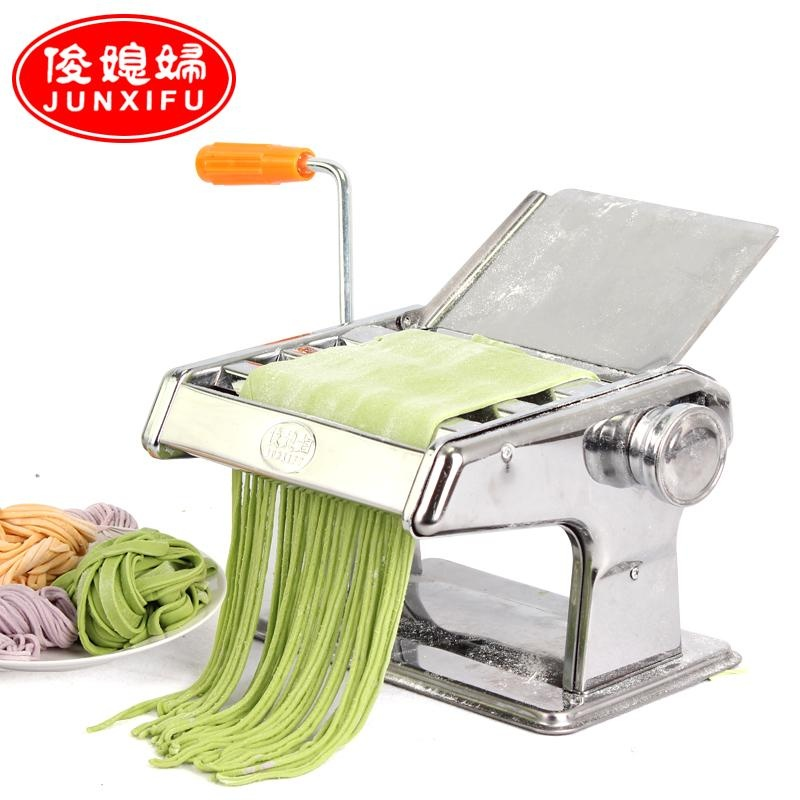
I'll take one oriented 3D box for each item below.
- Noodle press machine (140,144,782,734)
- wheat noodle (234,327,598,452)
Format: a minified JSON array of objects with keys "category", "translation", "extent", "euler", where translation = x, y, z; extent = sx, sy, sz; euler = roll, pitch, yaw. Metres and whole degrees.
[{"category":"Noodle press machine","translation":[0.116,-0.028,1.596],"extent":[0.854,0.648,0.782],"euler":[19,37,41]},{"category":"wheat noodle","translation":[0.036,-0.029,1.382],"extent":[0.276,0.047,0.282],"euler":[-19,27,-40]}]
